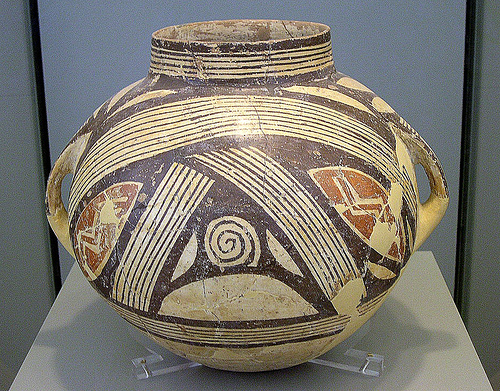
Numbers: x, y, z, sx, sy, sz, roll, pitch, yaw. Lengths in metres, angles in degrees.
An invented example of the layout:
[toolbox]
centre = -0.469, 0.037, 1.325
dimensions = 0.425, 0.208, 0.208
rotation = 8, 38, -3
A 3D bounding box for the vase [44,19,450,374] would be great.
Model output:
[vase]
centre = -0.005, 0.077, 2.002
dimensions = 0.802, 0.766, 0.764
rotation = -1, 10, -1
